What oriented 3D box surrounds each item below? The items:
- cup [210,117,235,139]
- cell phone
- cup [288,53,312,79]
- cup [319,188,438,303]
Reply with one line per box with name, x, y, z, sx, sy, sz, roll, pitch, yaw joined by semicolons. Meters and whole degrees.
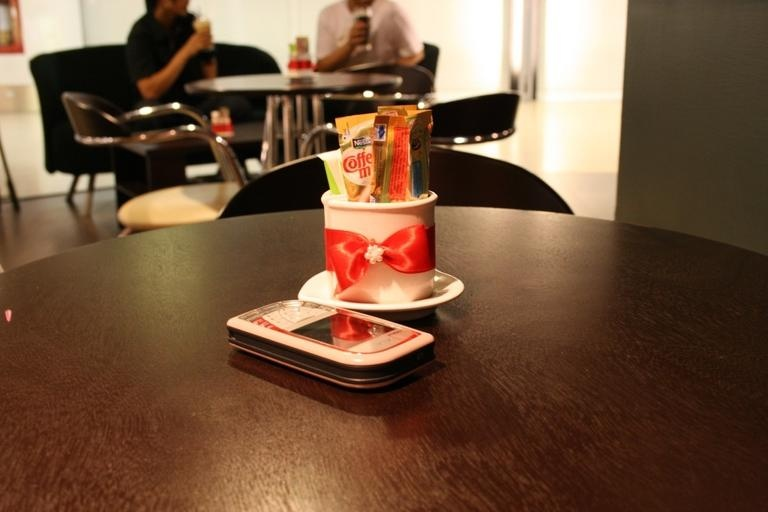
cup;-0.924;-0.733;3.352;0.112;0.128;0.275;-6;18;-16
cell phone;-0.048;0.053;0.524;0.149;0.031;0.082;13;18;34
cup;-0.428;-0.968;3.035;0.135;0.136;0.135;0;13;0
cup;-0.004;-0.019;0.647;0.097;0.097;0.119;6;13;30
